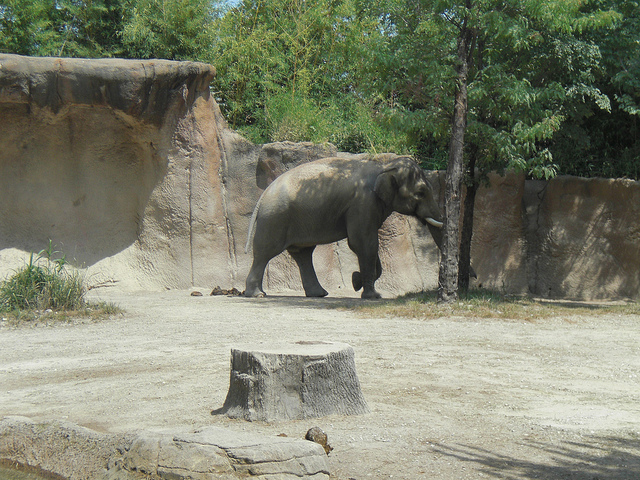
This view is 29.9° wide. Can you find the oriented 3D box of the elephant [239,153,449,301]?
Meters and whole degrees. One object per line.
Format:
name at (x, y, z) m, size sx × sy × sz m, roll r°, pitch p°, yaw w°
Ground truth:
elephant at (0.532, -0.224, 22.906) m, size 4.110 × 2.741 × 1.591 m, roll -2°, pitch 12°, yaw -7°
